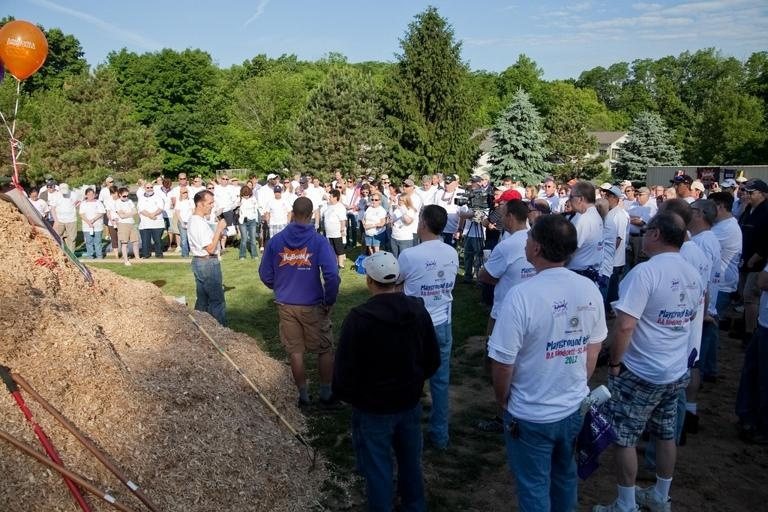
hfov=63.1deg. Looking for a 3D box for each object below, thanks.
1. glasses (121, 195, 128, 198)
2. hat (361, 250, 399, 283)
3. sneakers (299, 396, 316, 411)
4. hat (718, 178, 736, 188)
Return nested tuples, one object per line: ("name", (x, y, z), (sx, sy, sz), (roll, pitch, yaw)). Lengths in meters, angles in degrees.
("glasses", (-6.706, -1.526, 16.123), (0.093, 0.031, 0.092), (10, 16, 32))
("hat", (-0.035, 0.123, 6.969), (0.394, 0.338, 0.317), (-1, 8, -2))
("sneakers", (-1.112, 2.146, 9.071), (0.236, 0.248, 0.149), (0, 4, -15))
("hat", (7.950, -1.653, 14.255), (0.454, 0.161, 0.300), (-5, 12, -37))
